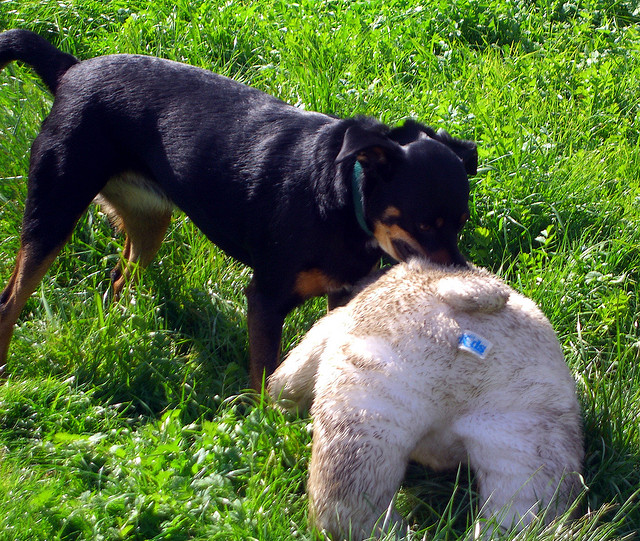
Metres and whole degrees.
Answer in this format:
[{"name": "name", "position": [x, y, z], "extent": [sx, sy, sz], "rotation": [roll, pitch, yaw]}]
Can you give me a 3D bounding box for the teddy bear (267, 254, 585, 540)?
[{"name": "teddy bear", "position": [0.424, 0.435, 2.273], "extent": [0.973, 0.845, 0.748], "rotation": [6, 1, -33]}]
